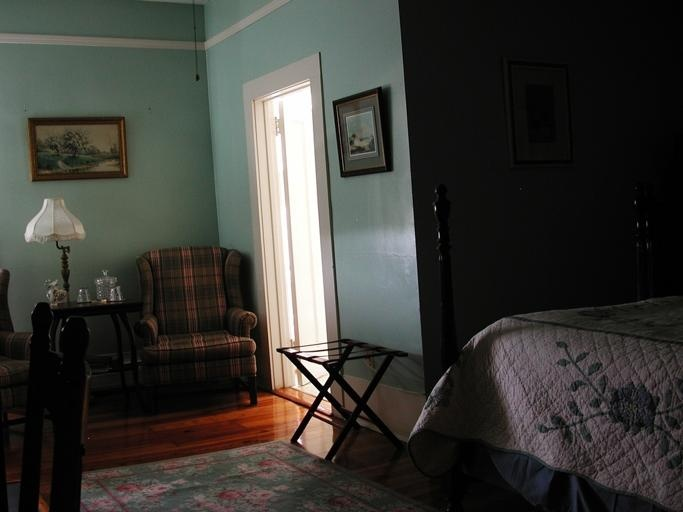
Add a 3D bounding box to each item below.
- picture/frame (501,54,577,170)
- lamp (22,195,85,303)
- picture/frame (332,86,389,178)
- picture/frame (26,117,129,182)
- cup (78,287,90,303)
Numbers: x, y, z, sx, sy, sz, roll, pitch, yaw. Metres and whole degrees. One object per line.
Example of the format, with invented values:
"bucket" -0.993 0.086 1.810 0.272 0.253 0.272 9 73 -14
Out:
"picture/frame" 1.205 -0.908 3.337 0.595 0.836 0.078 -3 1 -3
"lamp" -2.493 -0.081 4.768 0.452 0.863 0.528 -3 1 -27
"picture/frame" 0.147 -0.848 3.732 0.058 0.767 0.636 -8 2 -34
"picture/frame" -2.507 -0.989 5.083 0.572 0.437 0.027 -5 6 -24
"cup" -2.263 0.340 4.787 0.125 0.126 0.129 -1 0 0
